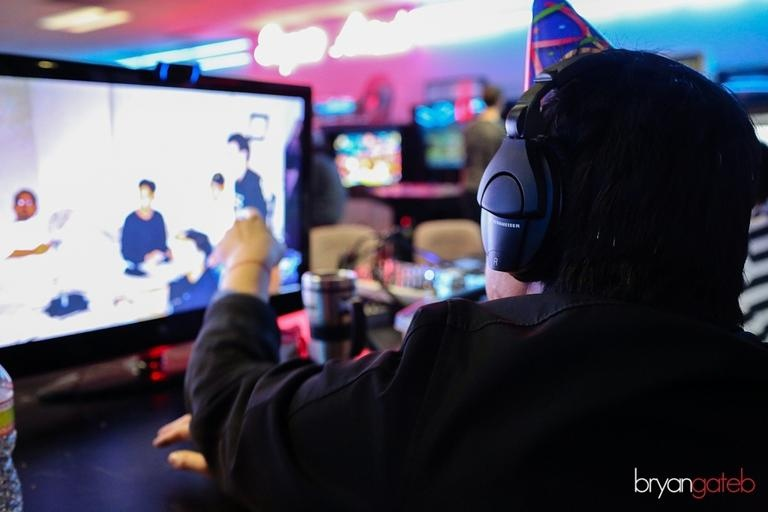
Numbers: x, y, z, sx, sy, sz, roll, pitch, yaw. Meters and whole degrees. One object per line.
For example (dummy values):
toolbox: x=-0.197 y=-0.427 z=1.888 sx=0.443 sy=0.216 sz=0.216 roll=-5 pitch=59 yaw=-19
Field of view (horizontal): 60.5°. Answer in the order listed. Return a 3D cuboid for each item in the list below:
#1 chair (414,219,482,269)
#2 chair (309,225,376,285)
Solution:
chair: x=0.294 y=-0.057 z=2.923 sx=0.213 sy=0.283 sz=0.230 roll=0 pitch=-5 yaw=-11
chair: x=-0.156 y=-0.002 z=2.549 sx=0.213 sy=0.263 sz=0.221 roll=0 pitch=-5 yaw=0
